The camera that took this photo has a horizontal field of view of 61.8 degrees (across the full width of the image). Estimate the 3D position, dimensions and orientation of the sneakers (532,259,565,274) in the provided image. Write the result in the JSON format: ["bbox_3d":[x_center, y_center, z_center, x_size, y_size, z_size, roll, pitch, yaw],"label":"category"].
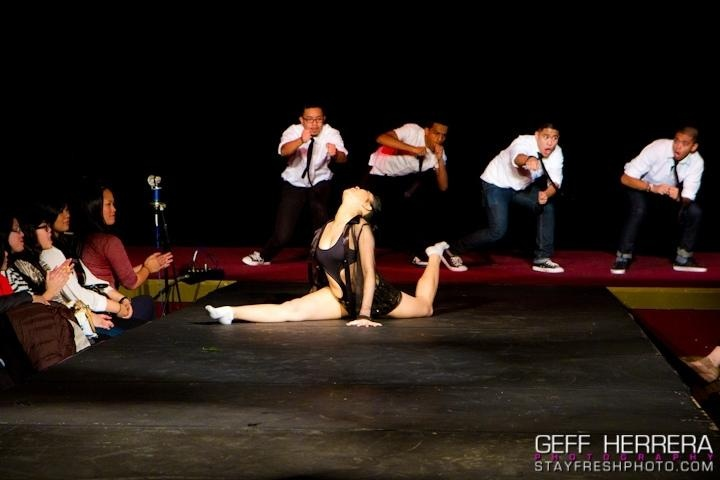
[{"bbox_3d":[1.751,0.251,5.637,0.324,0.107,0.120,0,3,20],"label":"sneakers"}]

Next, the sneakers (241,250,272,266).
[{"bbox_3d":[-1.032,0.196,6.018,0.255,0.089,0.124,2,4,-2],"label":"sneakers"}]

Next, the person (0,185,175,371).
[{"bbox_3d":[-1.763,0.142,4.238,0.415,0.998,0.865,4,12,20],"label":"person"}]

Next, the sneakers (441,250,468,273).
[{"bbox_3d":[0.906,0.218,5.872,0.132,0.143,0.400,-9,2,-14],"label":"sneakers"}]

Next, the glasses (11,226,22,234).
[{"bbox_3d":[-2.114,-0.061,3.723,0.033,0.046,0.087,-1,10,-4],"label":"glasses"}]

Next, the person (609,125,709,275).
[{"bbox_3d":[2.952,-0.394,5.711,0.741,1.319,1.397,8,14,35],"label":"person"}]

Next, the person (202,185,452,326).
[{"bbox_3d":[-0.226,0.156,4.177,1.704,0.814,0.781,5,-4,-23],"label":"person"}]

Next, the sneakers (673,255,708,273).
[{"bbox_3d":[3.084,0.231,5.637,0.286,0.104,0.151,0,2,9],"label":"sneakers"}]

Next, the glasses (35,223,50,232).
[{"bbox_3d":[-2.047,-0.087,3.883,0.079,0.056,0.032,-4,12,-21],"label":"glasses"}]
